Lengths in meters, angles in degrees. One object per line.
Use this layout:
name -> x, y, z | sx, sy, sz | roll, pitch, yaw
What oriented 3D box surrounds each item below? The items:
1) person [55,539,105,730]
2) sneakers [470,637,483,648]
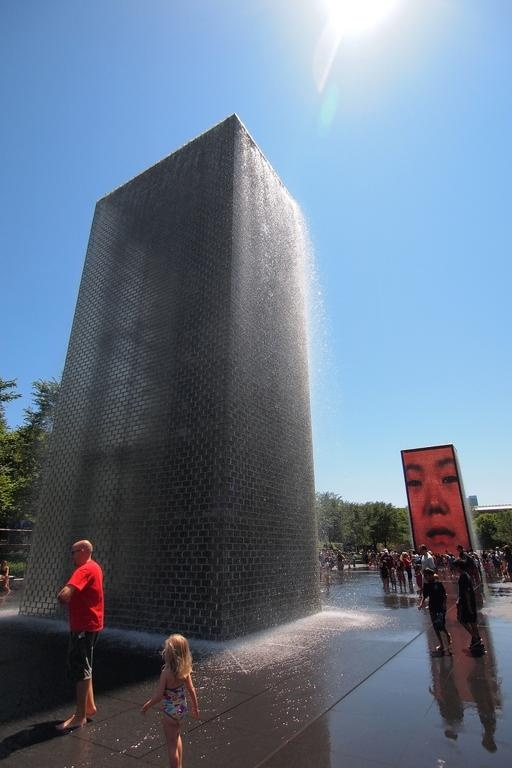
person -> -1.361, 1.936, 3.784 | 0.280, 1.333, 0.945 | 2, -16, -16
sneakers -> 2.803, 3.296, 6.091 | 0.140, 0.152, 0.128 | 4, -4, -16
